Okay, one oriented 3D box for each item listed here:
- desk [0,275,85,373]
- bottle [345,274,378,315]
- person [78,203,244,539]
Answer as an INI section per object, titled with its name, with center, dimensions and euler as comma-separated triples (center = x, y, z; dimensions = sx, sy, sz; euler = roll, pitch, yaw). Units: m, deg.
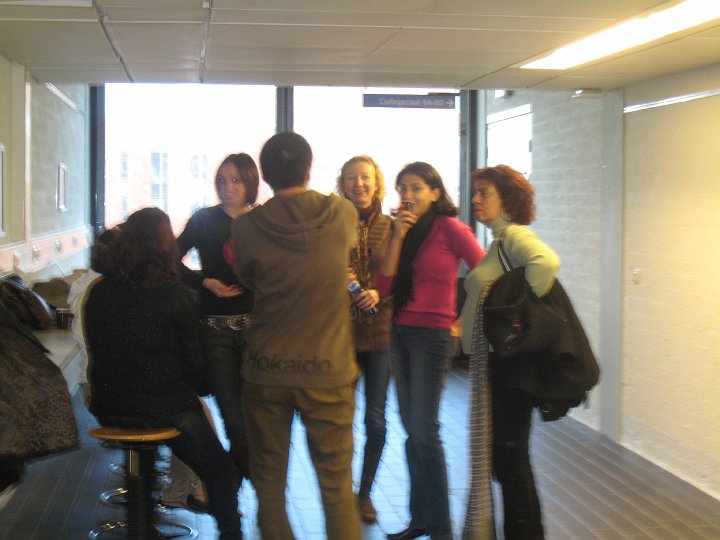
[desk]
center = -1.711, 0.281, 3.402
dimensions = 0.485, 0.634, 0.207
euler = 4, -28, -23
[bottle]
center = 0.003, 0.113, 2.729
dimensions = 0.085, 0.085, 0.238
euler = -22, -45, 21
[person]
center = -0.816, 0.458, 2.592
dimensions = 0.644, 1.420, 0.190
euler = 2, 9, -10
